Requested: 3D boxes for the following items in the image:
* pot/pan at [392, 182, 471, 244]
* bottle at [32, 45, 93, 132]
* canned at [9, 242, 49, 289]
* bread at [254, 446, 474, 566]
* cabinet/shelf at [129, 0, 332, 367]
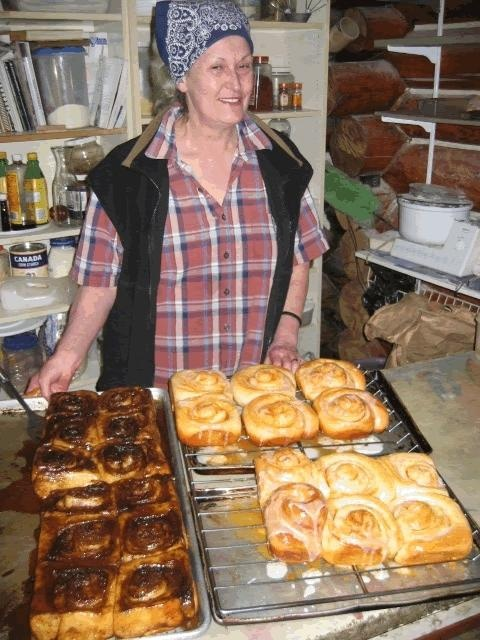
[{"bbox_3d":[0.952,-0.510,2.600,0.243,0.275,0.348,-23,32,-39],"label":"pot/pan"},{"bbox_3d":[-0.777,-1.011,2.312,0.266,0.313,0.227,-25,34,-38],"label":"bottle"},{"bbox_3d":[-0.980,-0.257,2.495,0.213,0.195,0.195,4,13,8],"label":"canned"},{"bbox_3d":[0.182,0.249,0.824,0.208,0.052,0.174,3,17,-5],"label":"bread"},{"bbox_3d":[-0.031,-0.350,1.421,0.498,0.902,0.601,2,25,9],"label":"cabinet/shelf"}]
